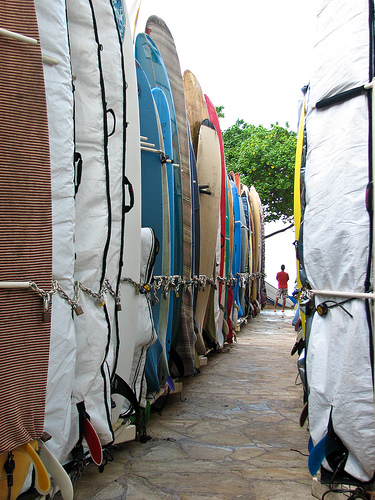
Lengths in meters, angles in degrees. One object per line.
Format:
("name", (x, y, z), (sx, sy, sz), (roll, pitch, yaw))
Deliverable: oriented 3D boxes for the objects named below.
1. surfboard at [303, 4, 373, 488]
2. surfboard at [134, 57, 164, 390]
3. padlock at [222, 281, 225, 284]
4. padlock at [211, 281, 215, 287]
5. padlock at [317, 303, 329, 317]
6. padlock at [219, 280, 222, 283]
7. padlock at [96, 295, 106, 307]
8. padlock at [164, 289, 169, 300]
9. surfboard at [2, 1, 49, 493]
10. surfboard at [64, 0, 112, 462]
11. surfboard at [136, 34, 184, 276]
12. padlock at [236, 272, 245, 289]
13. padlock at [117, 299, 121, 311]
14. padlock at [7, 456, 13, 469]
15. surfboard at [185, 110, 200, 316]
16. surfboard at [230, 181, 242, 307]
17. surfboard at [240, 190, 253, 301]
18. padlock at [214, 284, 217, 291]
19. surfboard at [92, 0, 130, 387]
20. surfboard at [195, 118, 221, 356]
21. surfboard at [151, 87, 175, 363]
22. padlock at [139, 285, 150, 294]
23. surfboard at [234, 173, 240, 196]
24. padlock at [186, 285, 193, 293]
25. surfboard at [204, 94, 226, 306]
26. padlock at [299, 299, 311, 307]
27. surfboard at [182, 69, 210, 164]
("surfboard", (0.565, -0.139, 1.735), (0.203, 1.985, 0.411), (1, -3, -12))
("surfboard", (-0.186, -0.255, 2.903), (0.187, 1.993, 0.312), (-8, -11, 34))
("padlock", (0.392, 0.341, 4.782), (0.012, 0.025, 0.022), (-2, 17, 7))
("padlock", (0.250, 0.309, 4.270), (0.022, 0.055, 0.010), (-3, 3, -21))
("padlock", (0.527, 0.229, 1.724), (0.040, 0.024, 0.032), (-13, 16, -32))
("padlock", (0.337, 0.306, 4.567), (0.016, 0.035, 0.009), (1, -12, -27))
("padlock", (-0.332, 0.192, 1.690), (0.012, 0.039, 0.021), (-13, 10, 31))
("padlock", (-0.146, 0.299, 3.062), (0.020, 0.074, 0.022), (2, -1, 6))
("surfboard", (-0.443, -0.044, 1.224), (0.158, 1.413, 0.127), (2, -3, -36))
("surfboard", (-0.405, -0.114, 1.704), (0.166, 1.704, 0.256), (-10, -11, 37))
("surfboard", (-0.252, -0.982, 3.623), (0.212, 2.296, 0.335), (-14, -16, 33))
("padlock", (0.805, 0.431, 6.704), (0.070, 0.259, 0.223), (3, -13, 9))
("padlock", (-0.295, 0.234, 1.898), (0.012, 0.046, 0.044), (1, -3, -5))
("padlock", (-0.470, 0.573, 1.171), (0.004, 0.032, 0.014), (-2, -4, 45))
("surfboard", (0.074, -0.264, 3.978), (0.185, 1.504, 0.114), (5, -12, -27))
("surfboard", (0.748, -0.147, 6.653), (0.247, 1.925, 0.189), (10, -14, -43))
("surfboard", (1.176, -0.193, 8.260), (0.205, 2.220, 0.288), (-1, -4, -8))
("padlock", (0.286, 0.362, 4.449), (0.016, 0.064, 0.023), (3, -9, -2))
("surfboard", (-0.323, -0.350, 1.907), (0.137, 1.442, 0.219), (-10, -15, 29))
("surfboard", (0.210, -0.209, 4.342), (0.285, 2.308, 0.233), (9, -12, -33))
("surfboard", (-0.144, -0.289, 3.358), (0.213, 2.014, 0.188), (1, 0, -26))
("padlock", (-0.231, 0.203, 2.353), (0.025, 0.018, 0.048), (38, 9, 7))
("surfboard", (0.919, -1.275, 8.025), (0.095, 0.535, 0.064), (-8, -41, 11))
("padlock", (0.014, 0.308, 3.593), (0.028, 0.061, 0.012), (-1, 5, -37))
("surfboard", (0.342, -0.803, 4.951), (0.227, 2.464, 0.219), (3, -5, -35))
("padlock", (0.496, 0.220, 1.857), (0.009, 0.032, 0.021), (20, -5, -31))
("surfboard", (0.080, -1.603, 4.719), (0.225, 1.236, 0.122), (7, -17, -31))
